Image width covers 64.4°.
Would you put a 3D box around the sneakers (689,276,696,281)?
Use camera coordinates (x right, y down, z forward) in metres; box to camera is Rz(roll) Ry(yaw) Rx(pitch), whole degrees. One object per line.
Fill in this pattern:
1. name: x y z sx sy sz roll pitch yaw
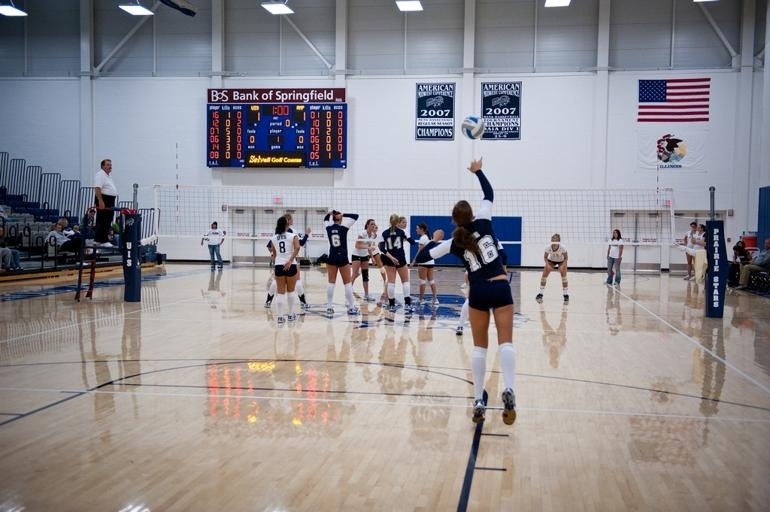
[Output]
1. sneakers: 10.359 0.793 20.662 0.113 0.152 0.345 6 4 15

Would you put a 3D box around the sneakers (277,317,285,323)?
1. sneakers: -2.132 1.315 12.454 0.168 0.098 0.097 -1 5 -27

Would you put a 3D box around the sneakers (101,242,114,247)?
1. sneakers: -6.407 -0.238 14.030 0.147 0.082 0.220 1 -4 -15

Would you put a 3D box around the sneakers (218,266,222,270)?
1. sneakers: -6.179 0.496 22.748 0.116 0.091 0.116 -3 -19 30

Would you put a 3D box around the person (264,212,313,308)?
1. person: -2.245 0.159 13.775 1.043 2.258 0.679 0 26 -6

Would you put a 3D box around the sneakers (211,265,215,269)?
1. sneakers: -6.393 0.459 22.546 0.161 0.166 0.160 0 -2 -7

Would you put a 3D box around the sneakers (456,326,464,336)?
1. sneakers: 1.400 1.436 11.574 0.116 0.156 0.359 -1 -10 7

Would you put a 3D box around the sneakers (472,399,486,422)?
1. sneakers: 1.221 2.058 8.035 0.154 0.359 0.214 1 4 4

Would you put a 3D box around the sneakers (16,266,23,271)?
1. sneakers: -10.427 0.386 17.359 0.308 0.132 0.106 0 2 38

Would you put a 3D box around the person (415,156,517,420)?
1. person: 1.137 0.422 8.358 1.092 3.591 0.897 -10 -13 26

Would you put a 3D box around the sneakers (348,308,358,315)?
1. sneakers: -0.714 1.225 13.272 0.095 0.121 0.254 0 -11 -8

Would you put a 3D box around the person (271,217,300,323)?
1. person: -2.018 0.295 12.246 0.545 2.138 0.766 -1 5 -12

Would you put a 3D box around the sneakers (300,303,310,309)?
1. sneakers: -1.840 1.169 13.981 0.209 0.095 0.085 -5 -3 40

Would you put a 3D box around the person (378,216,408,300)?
1. person: 0.174 0.165 13.664 0.552 2.092 0.887 -1 5 -18

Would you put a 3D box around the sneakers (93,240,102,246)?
1. sneakers: -6.602 -0.253 13.954 0.114 0.094 0.293 7 1 -36

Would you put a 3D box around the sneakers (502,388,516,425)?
1. sneakers: 1.600 1.961 7.907 0.179 0.488 0.217 -1 9 13

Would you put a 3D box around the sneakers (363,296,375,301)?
1. sneakers: -0.391 1.065 15.067 0.318 0.144 0.119 -1 2 18
